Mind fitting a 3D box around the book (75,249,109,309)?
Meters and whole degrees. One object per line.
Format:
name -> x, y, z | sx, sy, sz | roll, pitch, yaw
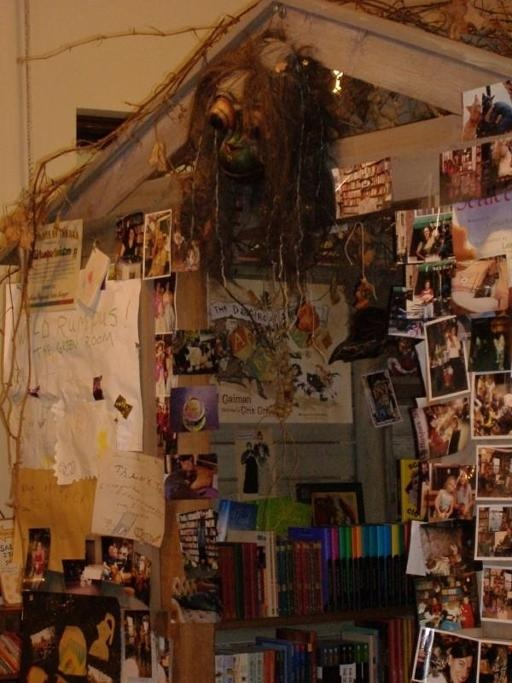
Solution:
book -> -0.530, -0.189, 3.815 | 0.018, 0.169, 0.129 | 11, 19, -37
